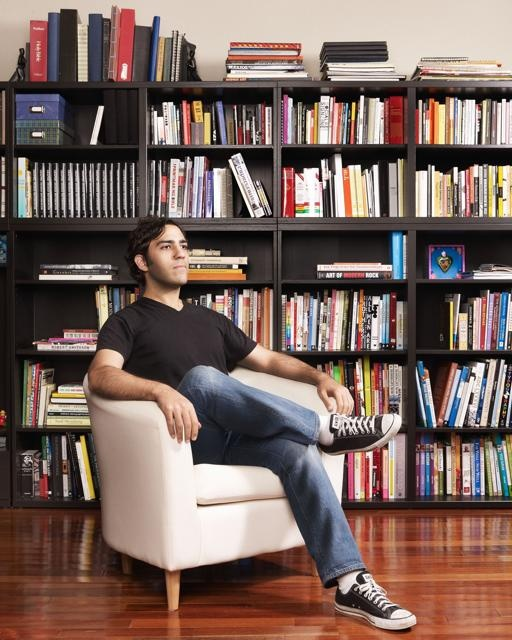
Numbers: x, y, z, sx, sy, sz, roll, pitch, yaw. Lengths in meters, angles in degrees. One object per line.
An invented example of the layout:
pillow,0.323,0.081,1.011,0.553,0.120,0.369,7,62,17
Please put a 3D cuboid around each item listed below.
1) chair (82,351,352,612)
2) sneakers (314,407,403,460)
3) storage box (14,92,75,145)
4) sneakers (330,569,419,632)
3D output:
chair,-0.170,0.497,2.237,0.691,0.665,0.671,5,-14,-34
sneakers,0.287,0.356,2.086,0.306,0.109,0.143,-12,-31,31
storage box,-0.978,-0.928,3.084,0.181,0.194,0.256,-1,2,-11
sneakers,0.320,0.800,1.967,0.100,0.145,0.296,-4,-1,-41
